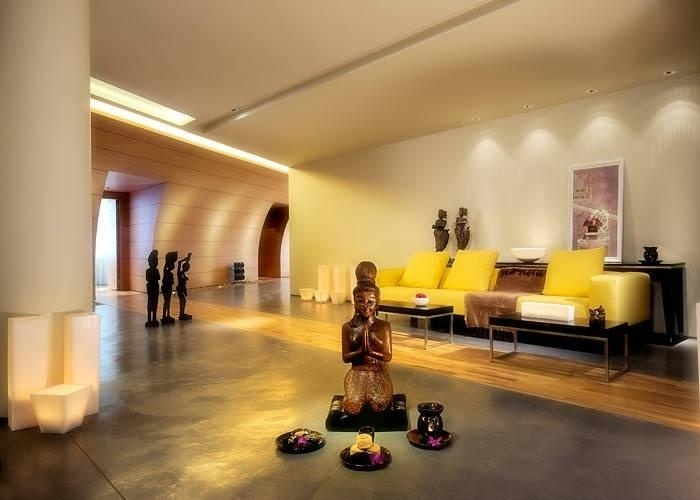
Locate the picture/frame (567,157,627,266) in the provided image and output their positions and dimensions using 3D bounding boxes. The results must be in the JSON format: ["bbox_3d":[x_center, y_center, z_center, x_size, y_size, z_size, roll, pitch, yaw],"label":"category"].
[{"bbox_3d":[3.361,-0.544,5.947,0.638,1.336,0.315,2,6,26],"label":"picture/frame"}]

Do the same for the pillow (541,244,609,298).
[{"bbox_3d":[2.786,0.282,5.406,0.375,0.637,0.699,8,-7,-36],"label":"pillow"}]

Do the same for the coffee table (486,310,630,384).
[{"bbox_3d":[2.136,0.887,4.422,1.195,0.541,0.822,3,7,37],"label":"coffee table"}]

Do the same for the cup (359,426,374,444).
[{"bbox_3d":[0.109,1.198,2.836,0.091,0.094,0.088,0,-4,0],"label":"cup"}]
